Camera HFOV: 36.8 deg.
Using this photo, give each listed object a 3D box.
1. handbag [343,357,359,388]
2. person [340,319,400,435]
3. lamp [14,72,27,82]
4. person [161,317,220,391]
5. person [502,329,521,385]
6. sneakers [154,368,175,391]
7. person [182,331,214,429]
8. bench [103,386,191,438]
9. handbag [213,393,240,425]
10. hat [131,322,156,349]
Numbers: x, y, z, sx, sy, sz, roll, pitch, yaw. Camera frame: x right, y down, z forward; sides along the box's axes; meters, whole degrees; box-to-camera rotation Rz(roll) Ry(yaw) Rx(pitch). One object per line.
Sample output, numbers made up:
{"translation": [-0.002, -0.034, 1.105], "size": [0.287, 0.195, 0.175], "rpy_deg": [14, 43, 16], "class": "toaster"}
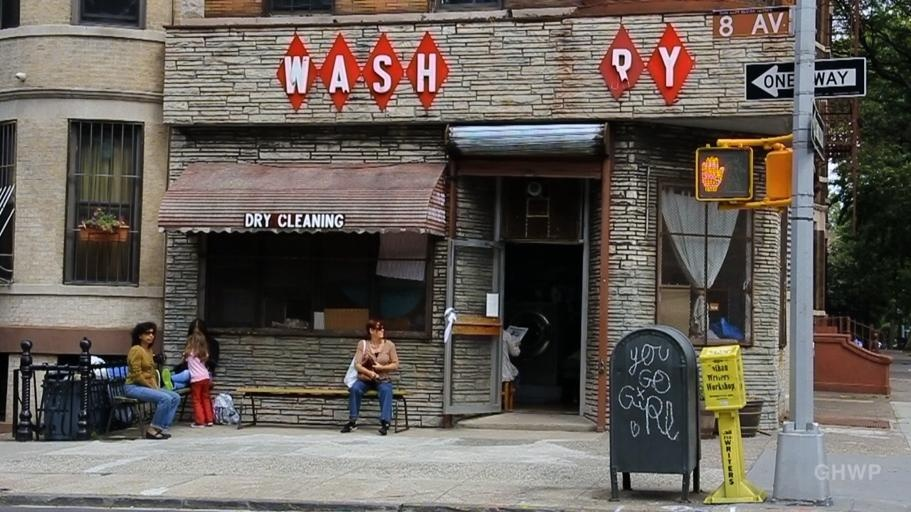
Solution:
{"translation": [-2.274, 2.556, 30.338], "size": [0.183, 0.593, 0.449], "rpy_deg": [17, -7, -11], "class": "handbag"}
{"translation": [-1.851, 2.641, 30.256], "size": [1.095, 2.389, 0.925], "rpy_deg": [1, 12, 3], "class": "person"}
{"translation": [-10.084, -4.186, 31.894], "size": [0.257, 0.219, 0.222], "rpy_deg": [3, -24, -13], "class": "lamp"}
{"translation": [-5.956, 2.129, 31.560], "size": [0.947, 1.442, 1.471], "rpy_deg": [-5, 4, -16], "class": "person"}
{"translation": [1.290, 2.273, 31.735], "size": [0.377, 1.186, 0.948], "rpy_deg": [1, 11, 3], "class": "person"}
{"translation": [-6.477, 2.674, 30.679], "size": [0.274, 0.601, 0.275], "rpy_deg": [-10, -1, 6], "class": "sneakers"}
{"translation": [-5.754, 2.673, 30.819], "size": [0.580, 2.227, 0.694], "rpy_deg": [-2, 12, -12], "class": "person"}
{"translation": [-6.909, 3.223, 30.499], "size": [1.431, 1.266, 2.030], "rpy_deg": [2, 3, 0], "class": "bench"}
{"translation": [-5.252, 3.449, 31.378], "size": [0.471, 0.706, 0.595], "rpy_deg": [3, 11, 36], "class": "handbag"}
{"translation": [-6.837, 1.707, 30.191], "size": [0.639, 0.702, 0.564], "rpy_deg": [0, -6, -29], "class": "hat"}
